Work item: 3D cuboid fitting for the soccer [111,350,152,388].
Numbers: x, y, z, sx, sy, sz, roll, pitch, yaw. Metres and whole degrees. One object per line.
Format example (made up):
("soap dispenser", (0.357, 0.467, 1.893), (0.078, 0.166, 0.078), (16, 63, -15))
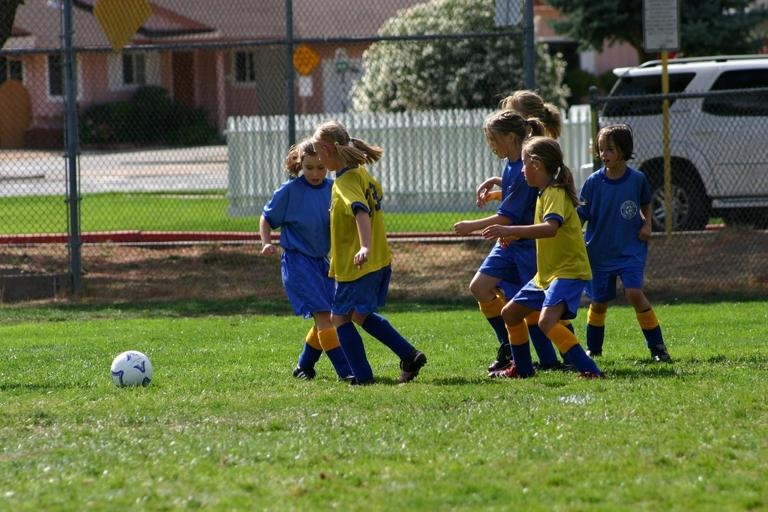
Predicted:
("soccer", (-2.250, 1.010, 9.909), (0.294, 0.316, 0.309), (-5, -8, -3))

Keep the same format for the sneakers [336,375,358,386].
("sneakers", (-0.328, 1.095, 9.961), (0.061, 0.081, 0.179), (-3, -3, -44))

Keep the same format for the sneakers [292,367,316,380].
("sneakers", (-0.726, 1.056, 10.163), (0.235, 0.112, 0.087), (6, 4, 45))

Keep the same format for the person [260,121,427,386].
("person", (-0.184, -0.042, 9.893), (0.630, 2.237, 0.864), (-7, 13, -27))

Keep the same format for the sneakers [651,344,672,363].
("sneakers", (2.546, 0.893, 10.341), (0.085, 0.105, 0.241), (-2, -8, -2))

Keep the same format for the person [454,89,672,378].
("person", (1.205, -0.229, 10.195), (0.998, 2.450, 1.386), (1, 12, 9))
